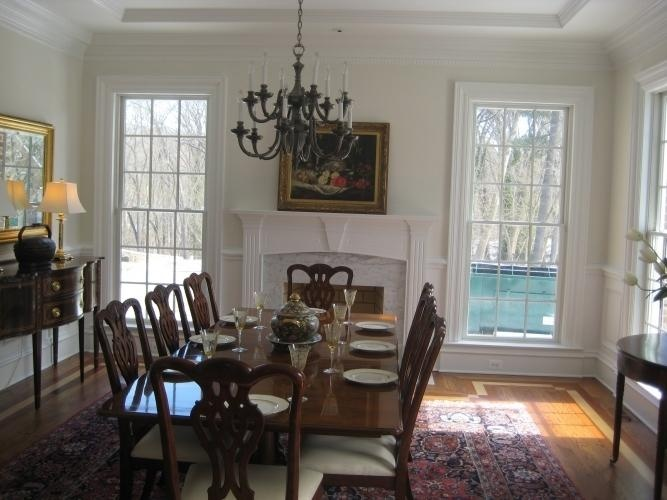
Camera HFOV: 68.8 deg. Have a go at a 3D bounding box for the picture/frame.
[{"bbox_3d":[0.055,-0.829,4.821,0.903,0.797,0.073,2,5,2],"label":"picture/frame"}]

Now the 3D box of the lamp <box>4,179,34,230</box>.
[{"bbox_3d":[-2.841,-0.501,4.387,0.168,0.275,0.185,9,12,38],"label":"lamp"}]

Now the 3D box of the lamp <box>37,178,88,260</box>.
[{"bbox_3d":[-2.688,-0.322,4.853,0.365,0.758,0.627,-4,10,-29],"label":"lamp"}]

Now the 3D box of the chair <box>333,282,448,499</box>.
[{"bbox_3d":[0.403,0.962,3.253,0.524,0.978,1.253,2,4,11],"label":"chair"}]

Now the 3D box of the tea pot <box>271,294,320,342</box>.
[{"bbox_3d":[-0.254,0.429,3.309,0.313,0.285,0.298,1,6,0],"label":"tea pot"}]

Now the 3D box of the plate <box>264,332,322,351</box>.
[{"bbox_3d":[-0.267,0.621,3.275,0.212,0.046,0.219,2,2,6],"label":"plate"}]
